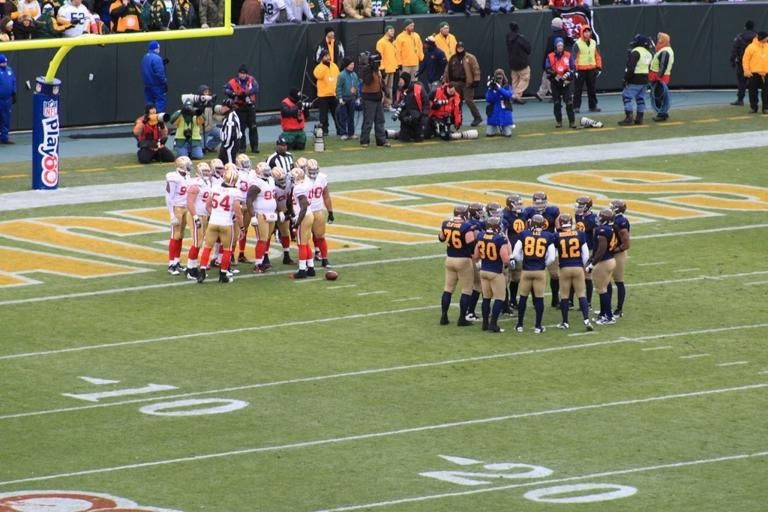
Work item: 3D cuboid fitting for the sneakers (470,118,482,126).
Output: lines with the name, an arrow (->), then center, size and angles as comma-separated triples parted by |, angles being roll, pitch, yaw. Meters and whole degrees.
sneakers -> 2.671, -3.750, 41.531 | 0.324, 0.235, 0.576 | 0, 7, 4

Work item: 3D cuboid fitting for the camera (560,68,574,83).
camera -> 5.114, -4.914, 40.437 | 0.341, 0.150, 0.394 | 5, 28, 15

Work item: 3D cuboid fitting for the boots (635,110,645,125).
boots -> 7.363, -3.905, 41.723 | 0.235, 0.379, 0.692 | 0, 7, 9

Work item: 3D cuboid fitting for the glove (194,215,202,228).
glove -> -3.647, -0.680, 28.791 | 0.072, 0.170, 0.136 | -16, -2, -4

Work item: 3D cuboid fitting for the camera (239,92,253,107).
camera -> -3.516, -3.995, 37.899 | 0.462, 0.268, 0.176 | 2, -2, 12

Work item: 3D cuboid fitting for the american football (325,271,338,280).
american football -> -1.014, 0.380, 28.985 | 0.191, 0.127, 0.236 | -6, 7, -36

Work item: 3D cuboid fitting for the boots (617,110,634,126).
boots -> 6.917, -3.862, 41.400 | 0.447, 0.404, 0.662 | 0, 7, 10
